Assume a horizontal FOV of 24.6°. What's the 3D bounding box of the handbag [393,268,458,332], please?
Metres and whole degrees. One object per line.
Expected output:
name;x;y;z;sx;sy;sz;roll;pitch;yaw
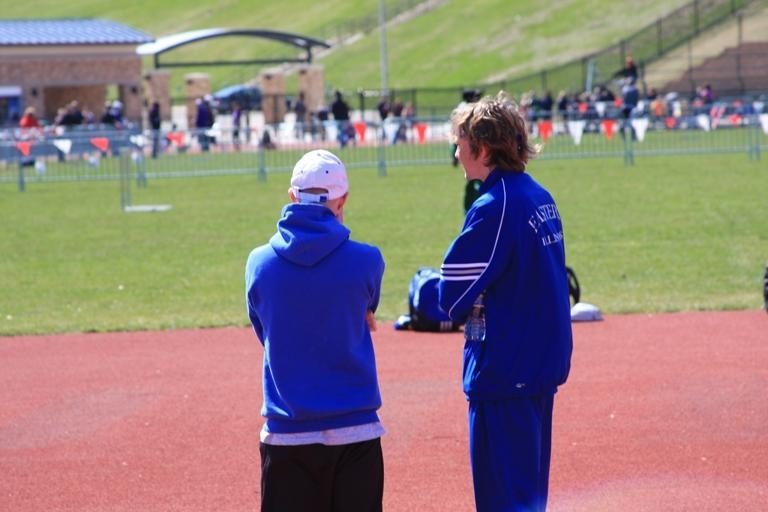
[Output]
handbag;0.459;0.527;20.467;0.550;0.811;0.278;-2;8;-4
